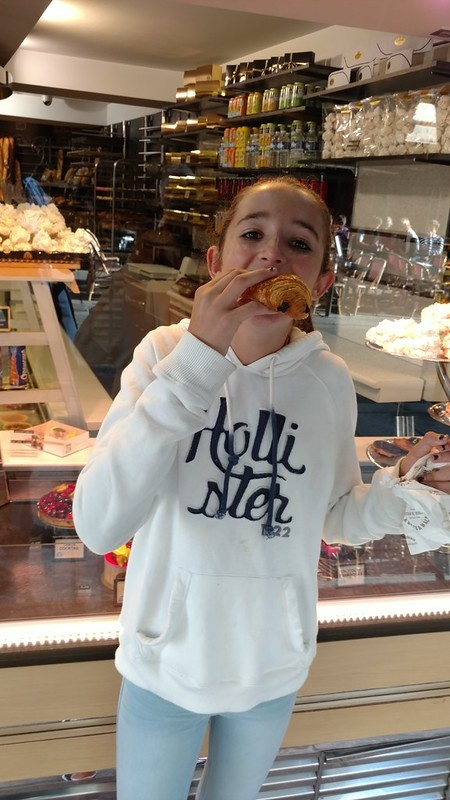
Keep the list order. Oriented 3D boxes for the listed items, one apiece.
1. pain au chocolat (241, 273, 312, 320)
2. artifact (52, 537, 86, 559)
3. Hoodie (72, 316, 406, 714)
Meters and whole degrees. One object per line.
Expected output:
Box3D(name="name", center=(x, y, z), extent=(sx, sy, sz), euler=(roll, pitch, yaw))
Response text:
Box3D(name="pain au chocolat", center=(0.056, -0.114, 0.605), extent=(0.077, 0.046, 0.076), euler=(2, 15, 2))
Box3D(name="artifact", center=(-0.374, 0.359, 1.297), extent=(0.076, 0.054, 0.043), euler=(0, -5, -1))
Box3D(name="Hoodie", center=(0.016, 0.155, 0.768), extent=(0.453, 0.539, 0.253), euler=(-6, 16, -27))
